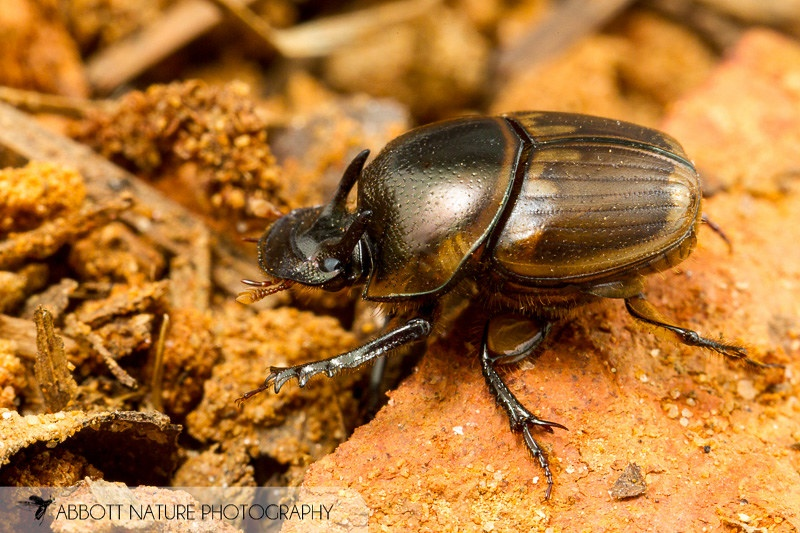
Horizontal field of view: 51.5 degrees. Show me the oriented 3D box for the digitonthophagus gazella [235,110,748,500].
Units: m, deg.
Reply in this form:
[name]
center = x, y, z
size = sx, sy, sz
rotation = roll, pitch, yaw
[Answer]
[digitonthophagus gazella]
center = 0.350, -0.051, 3.354
size = 1.812, 0.510, 1.088
rotation = -7, 66, -8
